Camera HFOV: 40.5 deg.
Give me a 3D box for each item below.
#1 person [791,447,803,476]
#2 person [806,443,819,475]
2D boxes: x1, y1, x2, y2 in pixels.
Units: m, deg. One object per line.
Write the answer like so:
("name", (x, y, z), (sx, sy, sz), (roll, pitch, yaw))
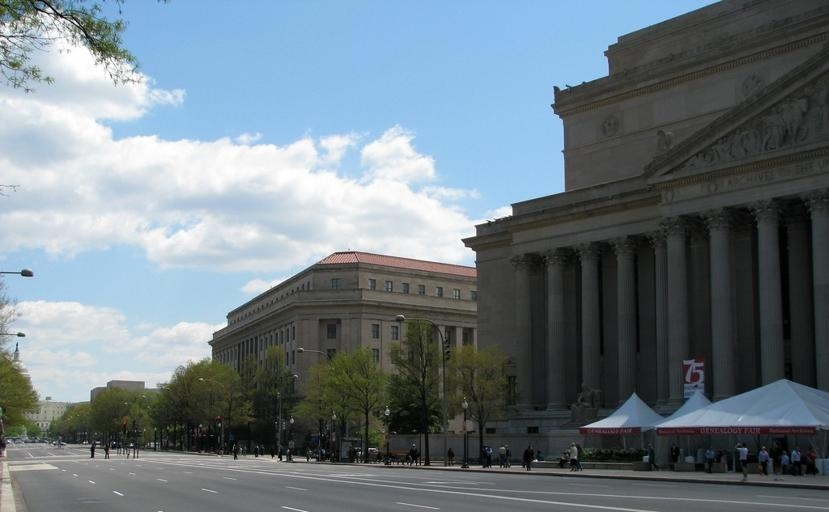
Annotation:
("person", (27.631, 14.937, 81.802), (0.677, 2.097, 1.578), (-6, -19, 17))
("person", (29.092, 15.036, 82.689), (0.708, 2.206, 1.414), (-9, -21, 25))
